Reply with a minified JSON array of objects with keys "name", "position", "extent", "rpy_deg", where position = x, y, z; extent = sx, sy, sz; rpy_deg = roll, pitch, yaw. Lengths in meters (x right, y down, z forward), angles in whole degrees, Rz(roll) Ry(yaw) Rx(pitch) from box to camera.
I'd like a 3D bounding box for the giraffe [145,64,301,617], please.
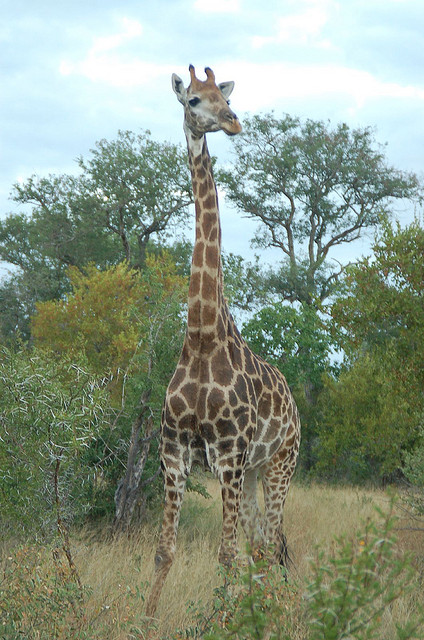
[{"name":"giraffe","position":[0.087,0.077,8.617],"extent":[0.894,4.336,1.730],"rpy_deg":[2,5,18]}]
